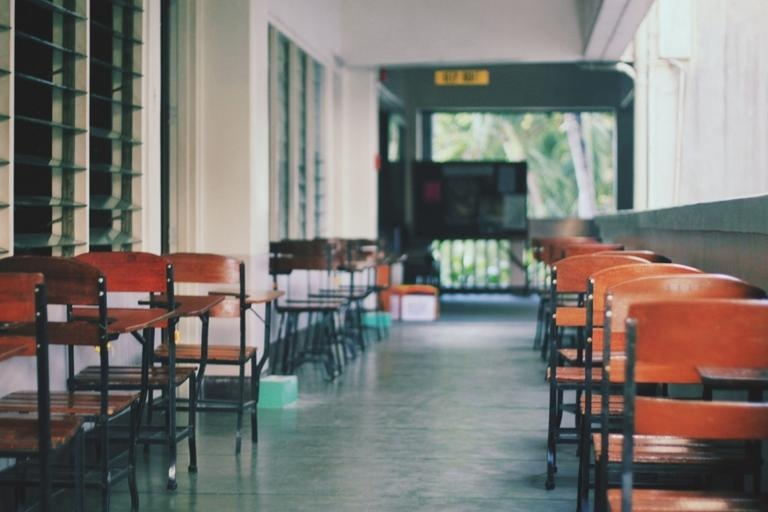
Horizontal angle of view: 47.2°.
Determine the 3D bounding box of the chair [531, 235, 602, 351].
[{"bbox_3d":[1.039,0.275,4.668,0.312,0.450,0.322,5,-2,15],"label":"chair"}]
